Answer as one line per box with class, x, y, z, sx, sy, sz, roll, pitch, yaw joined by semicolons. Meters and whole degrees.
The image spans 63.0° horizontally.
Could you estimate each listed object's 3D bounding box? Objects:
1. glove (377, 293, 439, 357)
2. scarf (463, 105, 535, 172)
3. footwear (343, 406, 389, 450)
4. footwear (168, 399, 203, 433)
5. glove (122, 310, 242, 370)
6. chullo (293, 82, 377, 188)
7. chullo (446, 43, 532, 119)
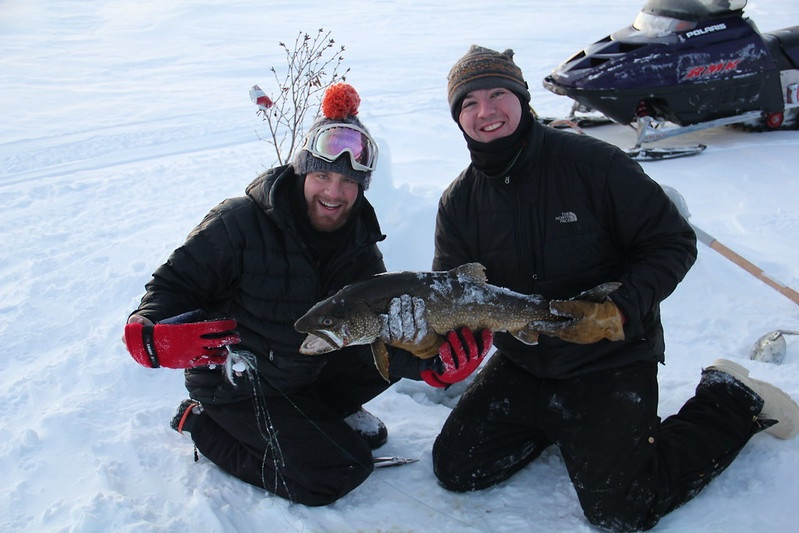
glove;0.082;0.536;5.602;0.454;0.563;0.227;-23;72;-4
scarf;0.920;-1.049;5.796;0.562;0.392;0.641;-3;57;23
footwear;-0.297;1.539;6.261;0.486;0.199;0.235;26;26;20
footwear;-2.032;1.405;6.114;0.321;0.145;0.234;-30;16;-9
glove;-1.913;0.596;5.658;1.094;0.429;0.749;-8;8;-20
chullo;-0.709;-1.207;6.204;0.747;0.784;0.985;8;-1;-12
chullo;0.818;-1.822;5.994;0.580;0.392;0.551;11;24;38
